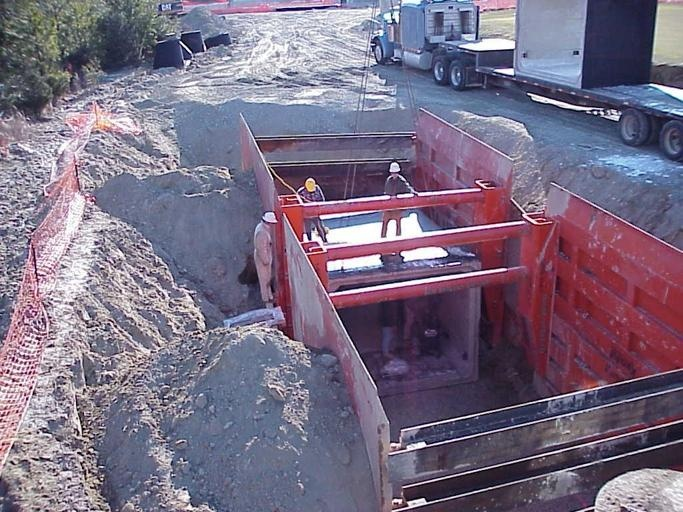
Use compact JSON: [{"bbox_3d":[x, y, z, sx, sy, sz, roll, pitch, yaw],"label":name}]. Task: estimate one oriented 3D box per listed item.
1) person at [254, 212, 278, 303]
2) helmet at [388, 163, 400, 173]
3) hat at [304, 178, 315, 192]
[{"bbox_3d":[-1.383,0.086,11.185,0.490,1.775,0.591,-5,48,-8],"label":"person"},{"bbox_3d":[1.090,-1.804,12.776,0.231,0.129,0.345,-3,26,2],"label":"helmet"},{"bbox_3d":[-0.647,-1.455,12.533,0.220,0.304,0.444,-7,24,-7],"label":"hat"}]
